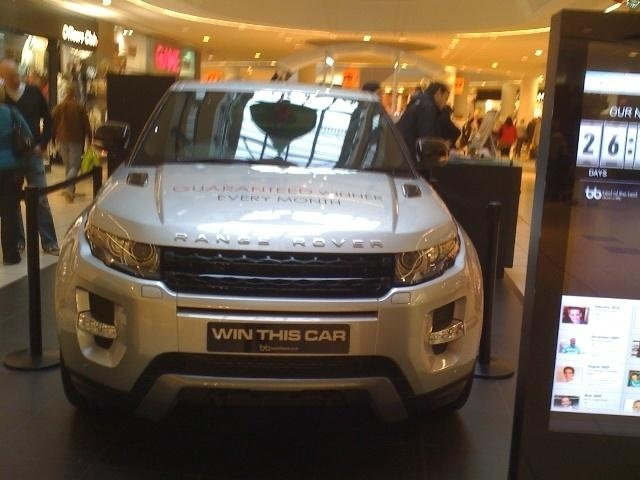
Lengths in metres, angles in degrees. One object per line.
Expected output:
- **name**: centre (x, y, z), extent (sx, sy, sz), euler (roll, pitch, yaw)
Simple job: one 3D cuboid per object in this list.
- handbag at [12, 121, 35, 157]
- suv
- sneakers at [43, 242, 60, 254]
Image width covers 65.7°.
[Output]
- **handbag**: centre (-3.296, -1.084, 5.501), extent (0.210, 0.316, 0.110), euler (1, 10, -1)
- **suv**: centre (-0.306, -0.340, 3.888), extent (2.090, 1.840, 3.765), euler (2, 15, -2)
- **sneakers**: centre (-3.284, 0.098, 6.019), extent (0.235, 0.117, 0.106), euler (4, 7, 26)
